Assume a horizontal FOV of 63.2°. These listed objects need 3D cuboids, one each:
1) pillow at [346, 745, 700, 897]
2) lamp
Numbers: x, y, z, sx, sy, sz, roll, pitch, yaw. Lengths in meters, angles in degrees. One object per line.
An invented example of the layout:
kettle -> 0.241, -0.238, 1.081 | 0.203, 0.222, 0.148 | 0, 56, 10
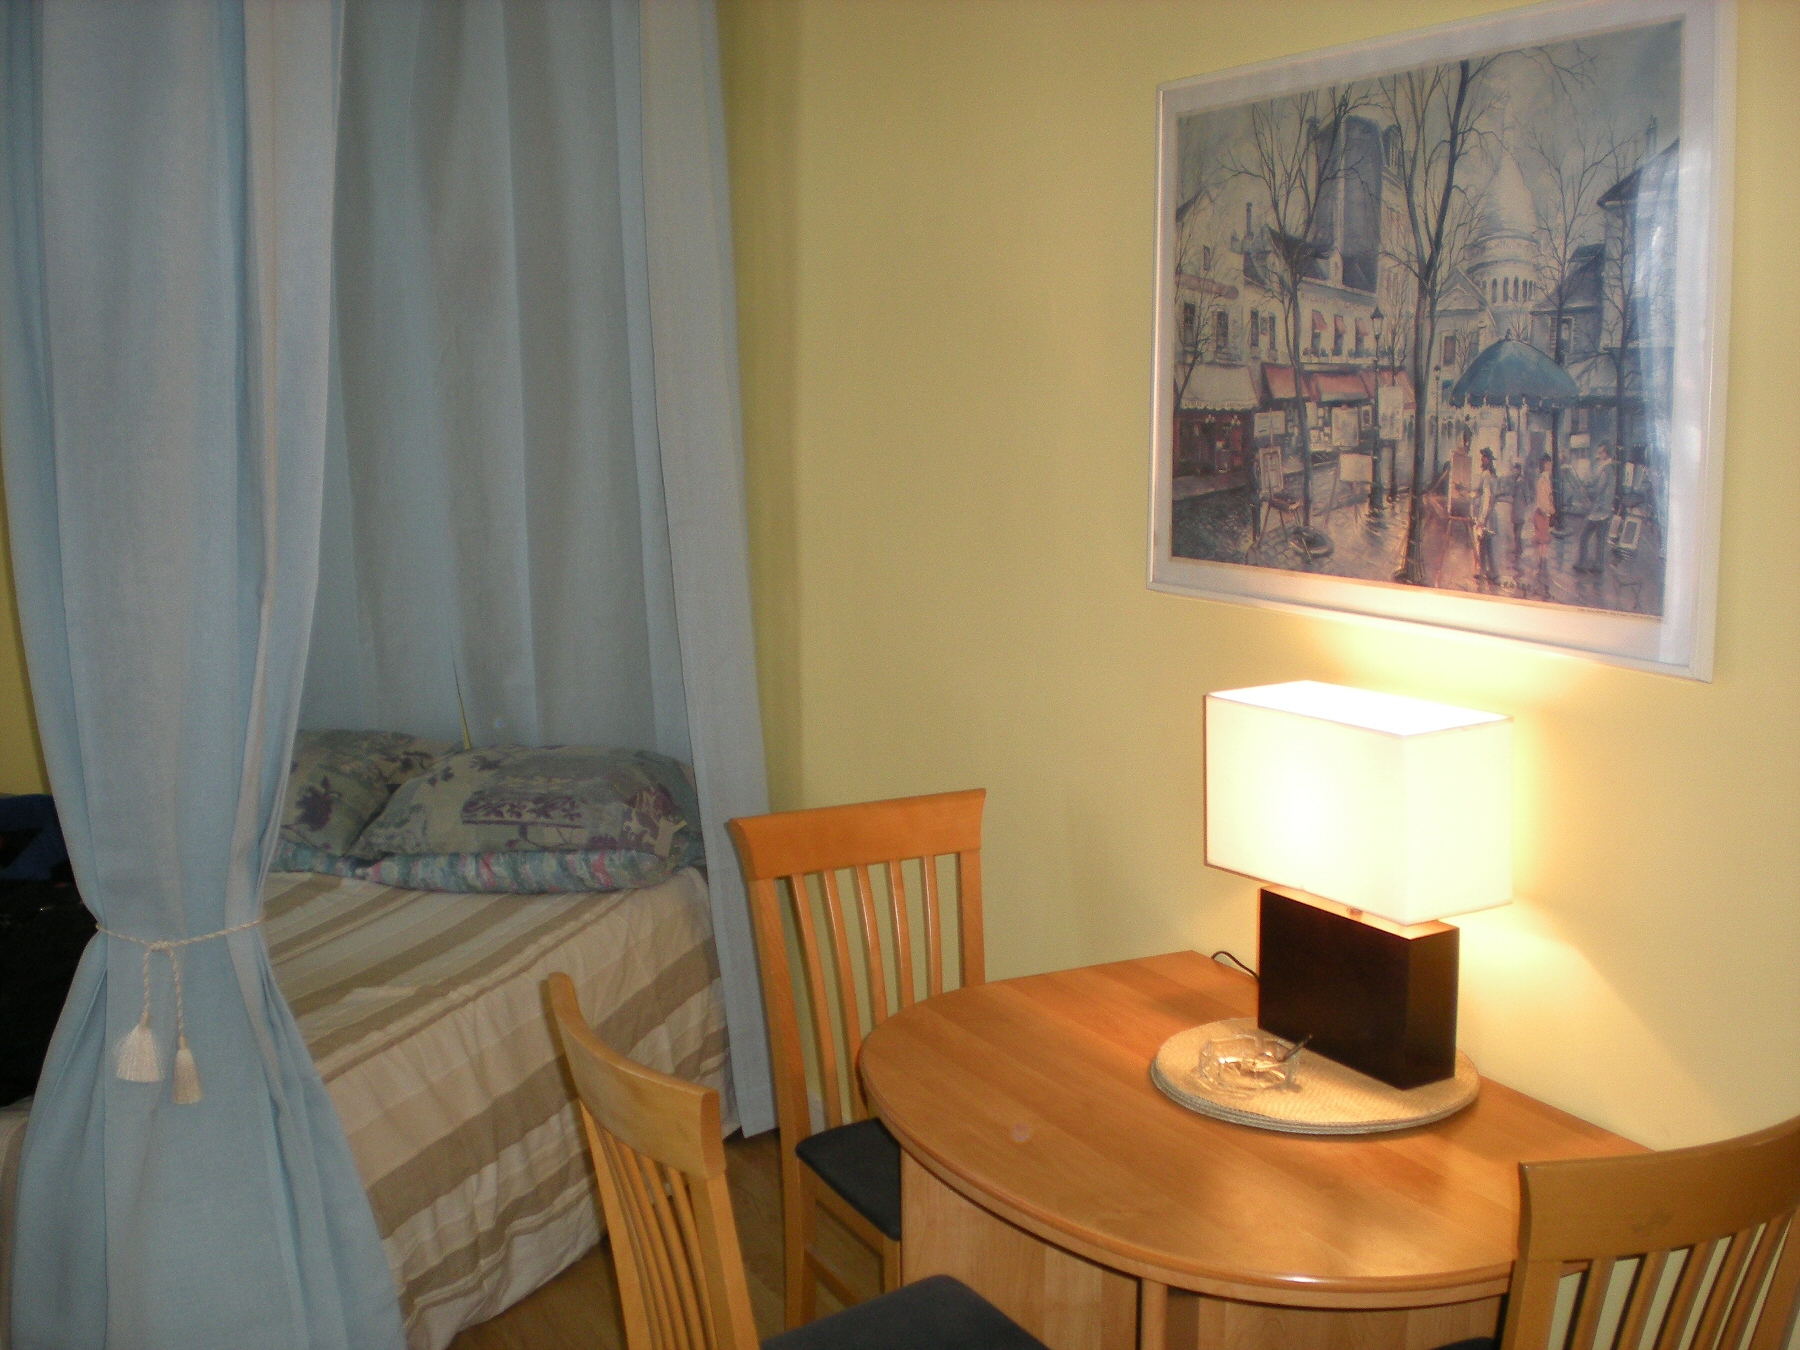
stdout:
pillow -> -0.822, 0.331, 3.290 | 0.480, 0.156, 0.418 | 1, 19, -2
lamp -> 0.565, 0.275, 2.346 | 0.579, 0.687, 0.562 | -7, 11, -36
